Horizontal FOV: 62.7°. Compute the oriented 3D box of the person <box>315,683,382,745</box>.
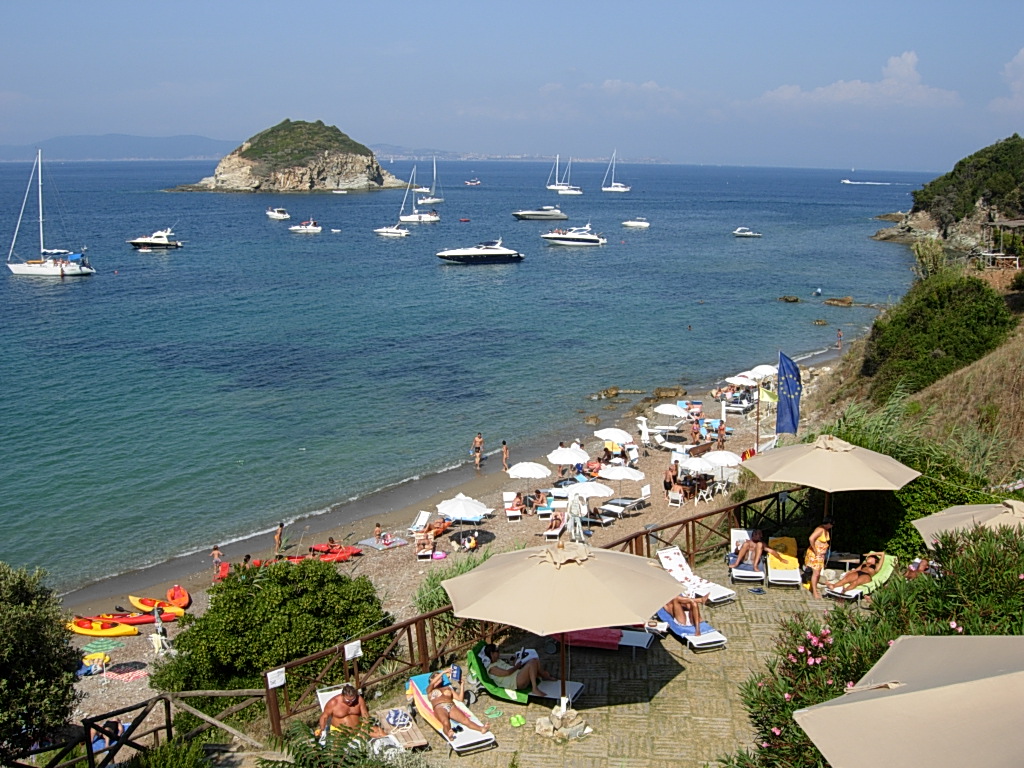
[{"bbox_3d":[-2.373,4.869,12.446,0.793,1.392,0.584,5,-12,-32],"label":"person"}]

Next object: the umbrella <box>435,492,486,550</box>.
[{"bbox_3d":[-1.530,4.204,25.962,1.733,1.343,1.649,0,8,7],"label":"umbrella"}]

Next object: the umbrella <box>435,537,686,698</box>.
[{"bbox_3d":[0.721,3.414,13.120,2.806,1.682,2.639,-3,9,-3],"label":"umbrella"}]

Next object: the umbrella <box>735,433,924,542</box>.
[{"bbox_3d":[5.700,1.492,15.151,2.614,0.917,1.353,6,12,24],"label":"umbrella"}]

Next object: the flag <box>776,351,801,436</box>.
[{"bbox_3d":[6.756,0.158,20.647,0.632,1.991,0.129,-1,-5,43],"label":"flag"}]
